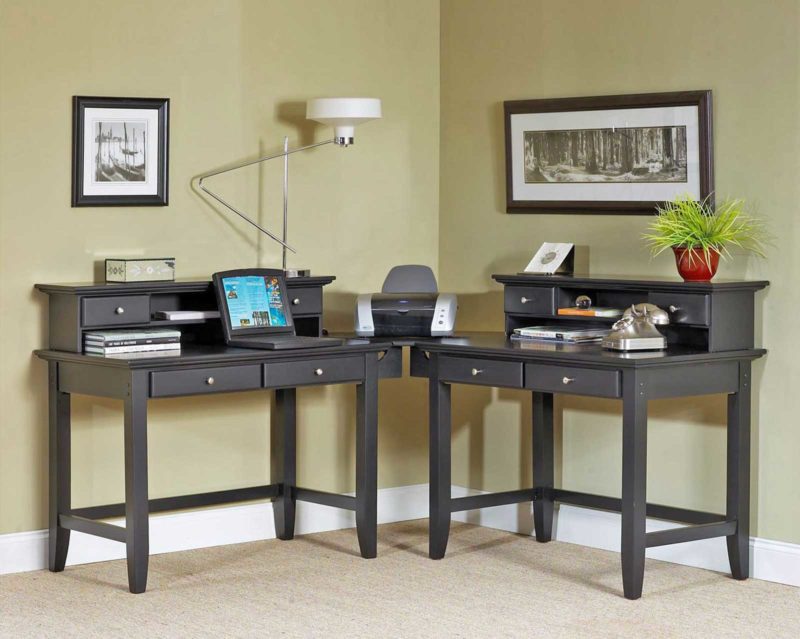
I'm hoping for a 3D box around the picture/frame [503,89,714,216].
[{"bbox_3d":[0.997,-0.784,3.353,0.794,0.430,0.035,1,6,33],"label":"picture/frame"}]

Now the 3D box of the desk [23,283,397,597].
[{"bbox_3d":[-0.804,0.446,3.251,0.729,1.202,1.385,-3,-2,39],"label":"desk"}]

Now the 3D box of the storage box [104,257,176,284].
[{"bbox_3d":[-1.111,-0.214,3.081,0.272,0.103,0.239,-3,5,-23],"label":"storage box"}]

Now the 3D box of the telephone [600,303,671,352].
[{"bbox_3d":[0.935,0.026,2.892,0.223,0.179,0.261,-5,6,-19],"label":"telephone"}]

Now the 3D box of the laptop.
[{"bbox_3d":[-0.535,-0.074,3.096,0.434,0.295,0.397,5,7,42],"label":"laptop"}]

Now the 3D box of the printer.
[{"bbox_3d":[0.034,-0.088,3.503,0.495,0.351,0.359,1,6,13],"label":"printer"}]

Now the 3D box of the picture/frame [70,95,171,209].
[{"bbox_3d":[-1.249,-0.750,3.178,0.538,0.563,0.045,-4,8,-33],"label":"picture/frame"}]

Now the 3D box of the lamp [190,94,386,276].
[{"bbox_3d":[-0.569,-0.649,3.625,1.023,0.831,0.377,0,3,12],"label":"lamp"}]

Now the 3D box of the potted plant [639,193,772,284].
[{"bbox_3d":[1.287,-0.313,3.052,0.418,0.263,0.393,0,3,-26],"label":"potted plant"}]

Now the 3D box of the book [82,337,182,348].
[{"bbox_3d":[-1.060,0.092,2.836,0.356,0.037,0.135,-2,5,-12],"label":"book"}]
